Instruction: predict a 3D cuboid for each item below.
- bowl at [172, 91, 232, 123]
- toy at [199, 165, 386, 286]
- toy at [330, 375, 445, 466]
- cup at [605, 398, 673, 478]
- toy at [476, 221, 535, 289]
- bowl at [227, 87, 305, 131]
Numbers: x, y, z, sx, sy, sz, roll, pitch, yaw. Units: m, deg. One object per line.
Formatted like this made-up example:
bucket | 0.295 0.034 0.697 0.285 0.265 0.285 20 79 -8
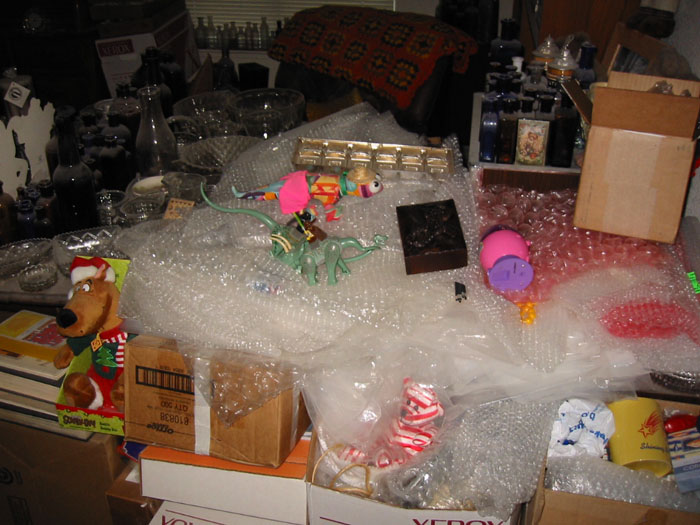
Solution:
bowl | -0.580 -0.616 2.197 0.193 0.098 0.180 -4 42 3
toy | -0.112 -0.080 1.311 0.343 0.128 0.291 0 61 -4
toy | 0.084 0.379 1.278 0.243 0.156 0.116 -8 42 -7
cup | 0.674 0.419 1.339 0.131 0.184 0.149 -19 46 33
toy | 0.330 -0.004 1.263 0.114 0.130 0.156 -5 38 5
bowl | -0.356 -0.613 2.312 0.268 0.290 0.143 -3 83 -13
